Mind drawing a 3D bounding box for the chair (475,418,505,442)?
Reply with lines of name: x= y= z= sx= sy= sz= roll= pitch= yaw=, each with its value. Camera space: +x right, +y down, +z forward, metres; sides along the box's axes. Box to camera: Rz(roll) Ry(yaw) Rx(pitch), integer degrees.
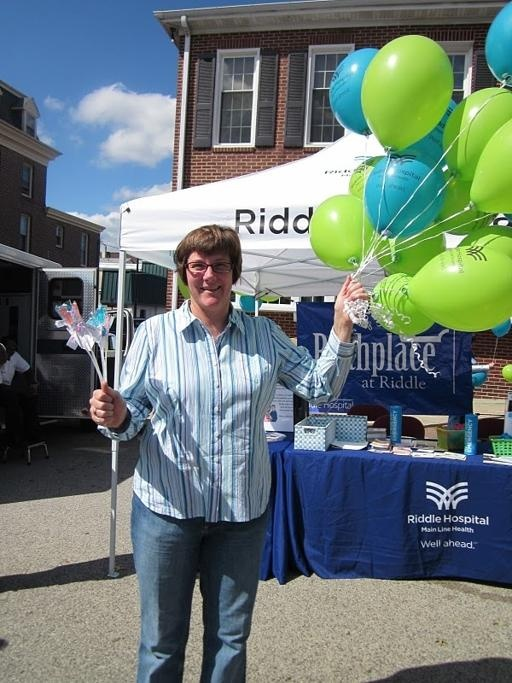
chair: x=1.992 y=0.721 z=5.188 sx=0.274 sy=0.207 sz=0.285 roll=0 pitch=-8 yaw=3
